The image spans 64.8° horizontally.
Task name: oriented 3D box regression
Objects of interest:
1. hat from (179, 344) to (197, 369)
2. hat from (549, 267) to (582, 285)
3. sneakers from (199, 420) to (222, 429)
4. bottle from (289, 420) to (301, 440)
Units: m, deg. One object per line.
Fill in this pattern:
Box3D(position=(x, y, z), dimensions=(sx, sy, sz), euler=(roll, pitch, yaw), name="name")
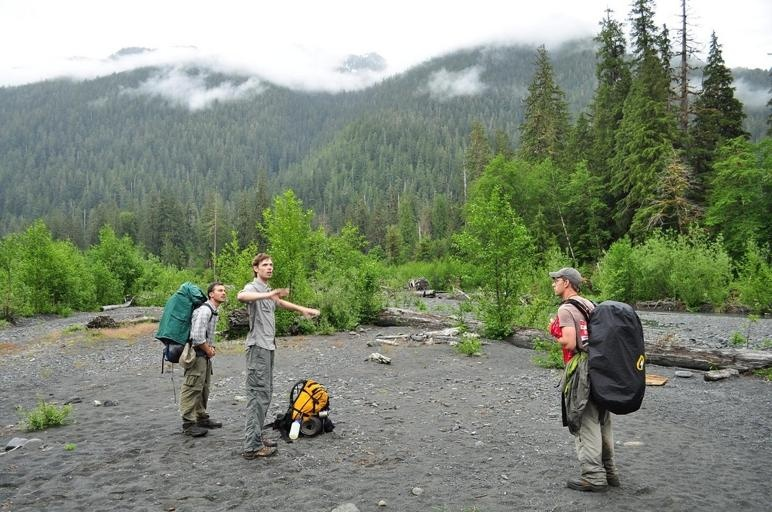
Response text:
Box3D(position=(-5.896, 3.003, 18.041), dimensions=(0.458, 0.766, 0.166), euler=(-2, 4, -19), name="hat")
Box3D(position=(5.043, 0.570, 17.023), dimensions=(0.746, 0.389, 0.484), euler=(8, -7, 20), name="hat")
Box3D(position=(-5.324, 5.173, 18.495), dimensions=(0.664, 0.290, 0.256), euler=(3, -4, -8), name="sneakers")
Box3D(position=(-2.689, 5.207, 17.890), dimensions=(0.307, 0.575, 0.203), euler=(7, -30, -10), name="bottle")
